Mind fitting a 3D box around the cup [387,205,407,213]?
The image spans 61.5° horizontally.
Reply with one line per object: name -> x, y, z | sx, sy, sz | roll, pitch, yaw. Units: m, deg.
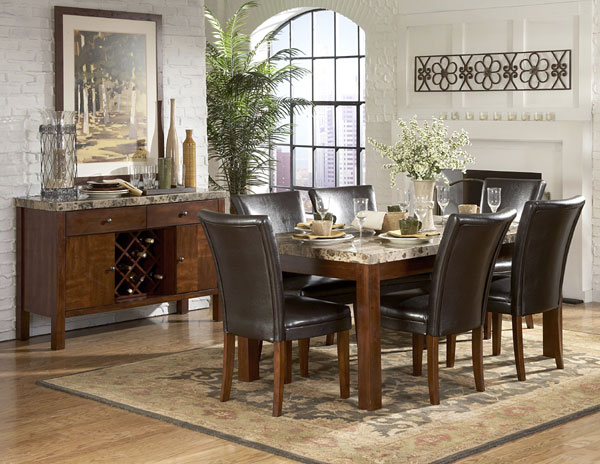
cup -> 0.627, -0.160, 3.217 | 0.098, 0.050, 0.089 | 0, -4, 0

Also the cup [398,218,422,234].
cup -> 0.611, -0.034, 2.789 | 0.099, 0.060, 0.115 | -1, -4, 15

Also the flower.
flower -> 0.812, -0.550, 3.342 | 0.597, 0.429, 0.261 | 0, 4, 9

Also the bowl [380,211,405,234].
bowl -> 0.562, -0.064, 3.057 | 0.148, 0.107, 0.138 | -1, 2, 0

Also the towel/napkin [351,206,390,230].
towel/napkin -> 0.460, -0.082, 3.108 | 0.168, 0.128, 0.052 | 10, -11, 33

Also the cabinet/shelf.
cabinet/shelf -> -1.437, 0.256, 3.872 | 0.606, 0.868, 1.599 | 3, 5, 41

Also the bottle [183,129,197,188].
bottle -> -0.995, -0.658, 4.490 | 0.114, 0.533, 0.205 | -2, 4, -12

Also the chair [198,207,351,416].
chair -> -0.108, 0.388, 2.589 | 0.621, 1.011, 0.446 | -4, 5, -39

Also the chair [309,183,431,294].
chair -> 0.292, 0.041, 3.915 | 0.902, 0.932, 1.003 | -2, 2, -38

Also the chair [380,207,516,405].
chair -> 0.681, 0.407, 2.783 | 0.942, 0.925, 0.706 | -5, -3, 32

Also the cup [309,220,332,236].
cup -> 0.125, -0.024, 2.807 | 0.122, 0.062, 0.098 | -4, 7, -10

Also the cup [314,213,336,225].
cup -> 0.130, -0.075, 2.882 | 0.115, 0.056, 0.081 | -2, 1, 26
